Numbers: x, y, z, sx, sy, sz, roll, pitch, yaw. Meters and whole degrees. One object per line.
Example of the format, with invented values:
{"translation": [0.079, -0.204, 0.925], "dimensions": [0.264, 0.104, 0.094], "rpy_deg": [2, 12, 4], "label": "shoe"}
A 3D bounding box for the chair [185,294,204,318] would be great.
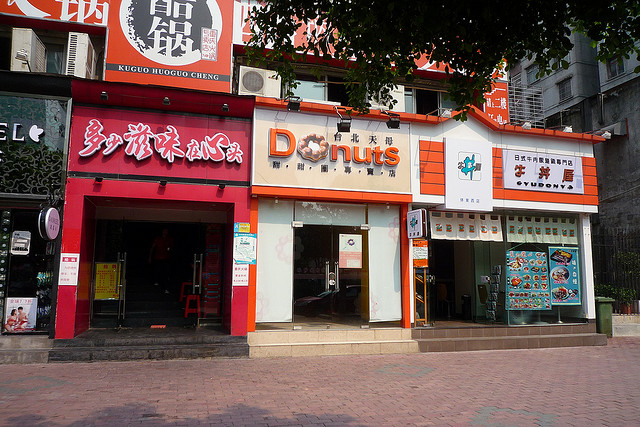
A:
{"translation": [-4.079, 3.005, 15.385], "dimensions": [0.699, 0.933, 0.664], "rpy_deg": [0, -2, -6], "label": "chair"}
